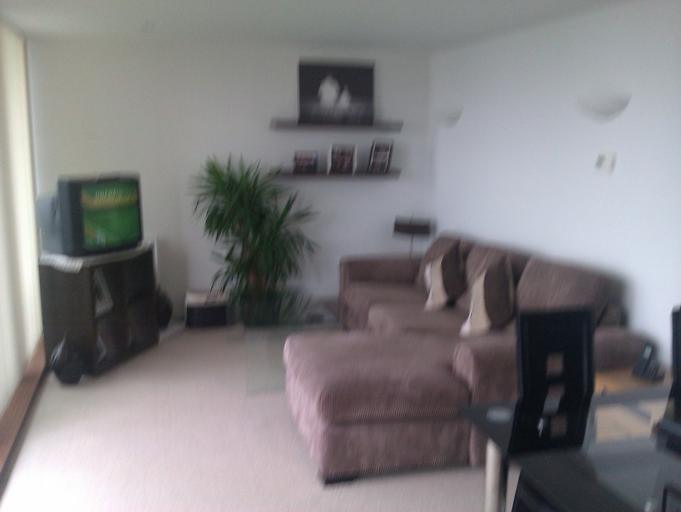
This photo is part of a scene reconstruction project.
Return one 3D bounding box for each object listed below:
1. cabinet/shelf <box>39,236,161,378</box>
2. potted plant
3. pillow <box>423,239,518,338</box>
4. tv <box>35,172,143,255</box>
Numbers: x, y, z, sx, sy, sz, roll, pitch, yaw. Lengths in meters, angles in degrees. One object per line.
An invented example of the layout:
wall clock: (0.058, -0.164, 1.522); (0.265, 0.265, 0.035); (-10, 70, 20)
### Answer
cabinet/shelf: (-1.108, 0.227, 2.330); (0.290, 0.526, 0.507); (6, 11, 23)
potted plant: (-0.128, -0.016, 0.720); (0.175, 0.236, 0.139); (2, 1, -34)
pillow: (0.207, 0.047, 0.777); (0.056, 0.151, 0.142); (1, 1, -40)
tv: (-0.943, -0.122, 1.873); (0.325, 0.318, 0.456); (-6, 12, -34)
